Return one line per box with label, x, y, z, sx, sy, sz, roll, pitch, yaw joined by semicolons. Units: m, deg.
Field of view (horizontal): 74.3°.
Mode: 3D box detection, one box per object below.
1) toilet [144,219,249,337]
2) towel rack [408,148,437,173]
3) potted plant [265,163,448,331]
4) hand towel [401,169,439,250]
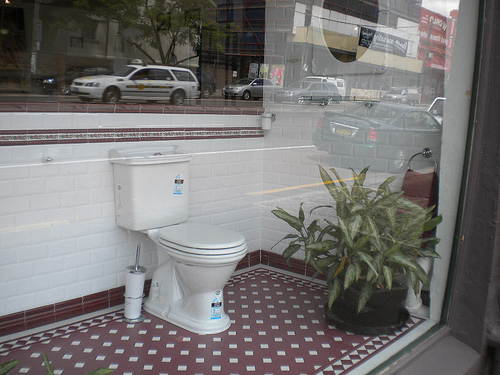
toilet;-0.394;0.618;2.383;0.712;0.609;0.491;11;9;40
towel rack;1.159;-0.186;2.194;0.018;0.131;0.155;-3;11;-36
potted plant;0.814;0.429;2.417;0.871;0.947;1.286;-9;10;-39
hand towel;1.128;0.119;2.200;0.260;0.589;0.067;-1;-8;39
